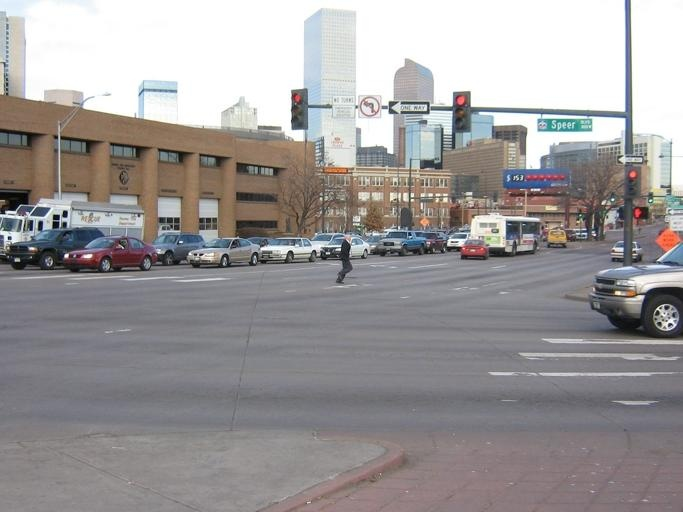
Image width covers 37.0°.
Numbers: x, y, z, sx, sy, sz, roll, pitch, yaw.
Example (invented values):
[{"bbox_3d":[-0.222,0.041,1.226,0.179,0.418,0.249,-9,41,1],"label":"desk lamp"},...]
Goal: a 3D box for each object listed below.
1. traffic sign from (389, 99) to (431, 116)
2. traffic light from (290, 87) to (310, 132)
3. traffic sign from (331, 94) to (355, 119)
[{"bbox_3d":[2.177,-4.704,32.399,1.364,0.458,1.935,2,10,3],"label":"traffic sign"},{"bbox_3d":[-1.281,-4.502,30.810,0.417,0.832,0.376,4,7,8],"label":"traffic light"},{"bbox_3d":[0.082,-4.834,33.094,0.782,0.724,1.255,1,10,0],"label":"traffic sign"}]
